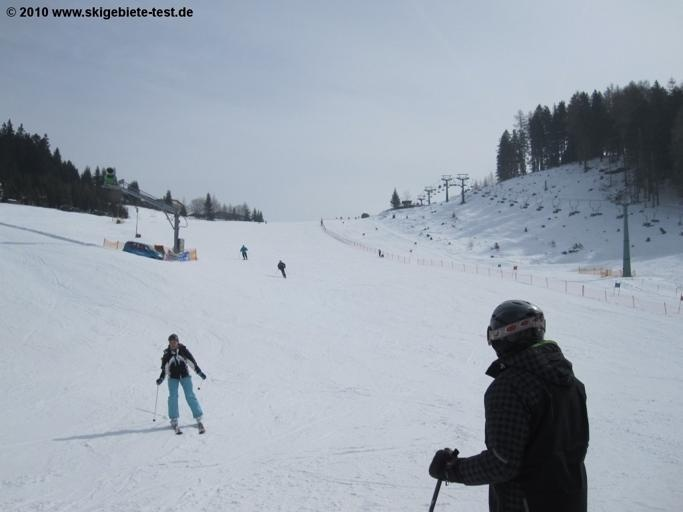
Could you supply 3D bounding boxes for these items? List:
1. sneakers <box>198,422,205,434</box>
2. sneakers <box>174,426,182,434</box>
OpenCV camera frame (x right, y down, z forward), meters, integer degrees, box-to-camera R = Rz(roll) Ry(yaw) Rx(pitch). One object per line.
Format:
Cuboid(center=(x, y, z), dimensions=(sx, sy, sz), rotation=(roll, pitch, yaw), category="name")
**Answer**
Cuboid(center=(-4.338, 5.309, 19.662), dimensions=(0.231, 0.297, 0.445), rotation=(-1, 8, -17), category="sneakers")
Cuboid(center=(-5.064, 5.388, 19.540), dimensions=(0.190, 0.245, 0.230), rotation=(-1, 9, 16), category="sneakers")
